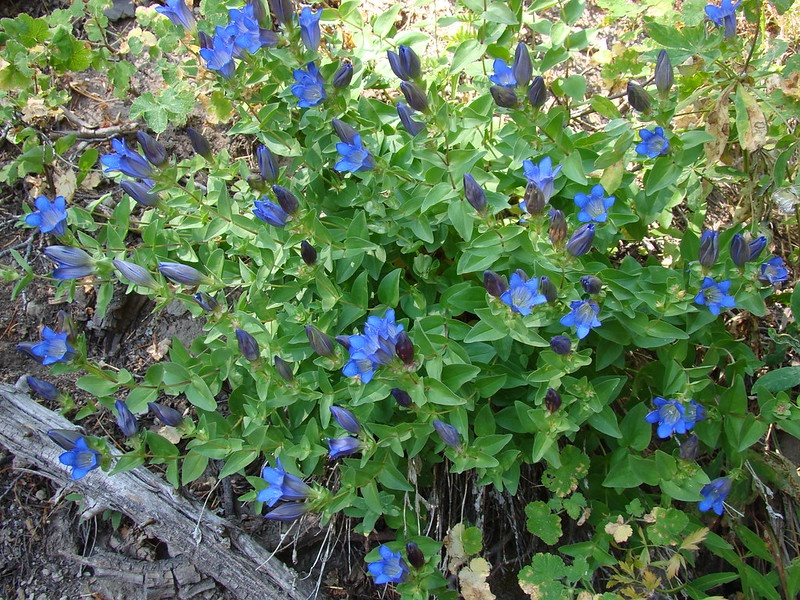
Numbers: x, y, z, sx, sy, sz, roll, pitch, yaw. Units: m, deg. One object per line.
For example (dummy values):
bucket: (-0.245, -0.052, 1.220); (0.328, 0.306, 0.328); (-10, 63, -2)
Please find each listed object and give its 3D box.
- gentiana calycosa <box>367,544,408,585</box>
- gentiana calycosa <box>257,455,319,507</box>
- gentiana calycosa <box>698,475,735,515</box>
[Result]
gentiana calycosa: (-0.065, 1.234, 3.304); (0.106, 0.207, 0.183); (13, 0, -39)
gentiana calycosa: (-0.549, 0.884, 3.361); (0.218, 0.250, 0.325); (-4, 15, -9)
gentiana calycosa: (1.498, 0.925, 3.342); (0.218, 0.162, 0.083); (31, -7, -38)
